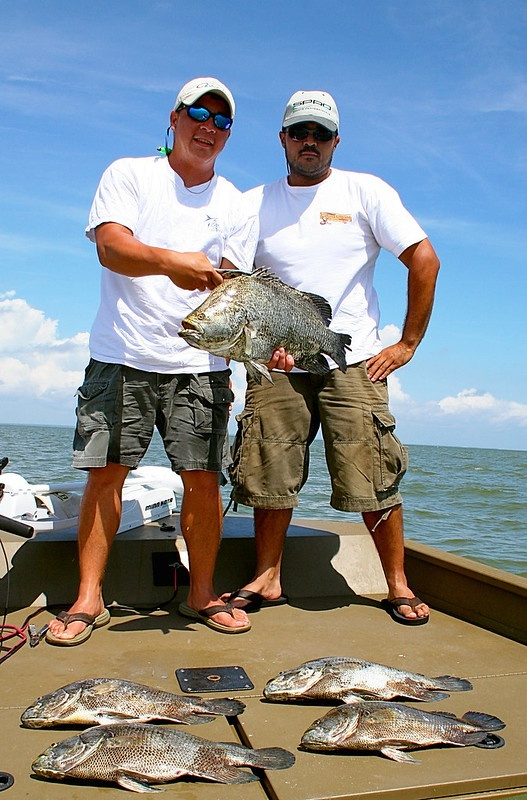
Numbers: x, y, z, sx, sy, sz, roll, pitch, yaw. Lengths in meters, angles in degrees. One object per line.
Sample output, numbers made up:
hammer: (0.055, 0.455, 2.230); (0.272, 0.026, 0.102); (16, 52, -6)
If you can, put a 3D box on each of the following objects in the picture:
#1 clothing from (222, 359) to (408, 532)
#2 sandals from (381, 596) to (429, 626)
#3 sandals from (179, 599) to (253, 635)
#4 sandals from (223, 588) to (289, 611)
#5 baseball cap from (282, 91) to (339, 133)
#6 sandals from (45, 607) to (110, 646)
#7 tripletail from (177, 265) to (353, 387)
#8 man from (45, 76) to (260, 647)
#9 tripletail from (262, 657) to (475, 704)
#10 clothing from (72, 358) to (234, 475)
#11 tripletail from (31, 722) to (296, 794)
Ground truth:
clothing: (0.241, 0.220, 3.521); (1.043, 0.922, 0.381); (0, -19, 4)
sandals: (0.687, 1.013, 3.466); (0.167, 0.128, 0.267); (3, 0, -8)
sandals: (-0.221, 0.983, 3.253); (0.263, 0.071, 0.122); (-1, -5, 40)
sandals: (-0.031, 0.985, 3.538); (0.308, 0.072, 0.110); (7, -11, -31)
baseball cap: (0.220, -1.442, 3.579); (0.283, 0.211, 0.166); (3, 0, 11)
sandals: (-0.789, 0.943, 3.021); (0.171, 0.137, 0.346); (3, 0, 9)
tripletail: (0.035, -0.273, 2.874); (0.873, 0.398, 0.190); (6, -1, -36)
man: (-0.411, -0.202, 3.144); (0.844, 2.513, 0.687); (3, 0, -5)
tripletail: (0.377, 0.982, 2.467); (0.755, 0.147, 0.188); (3, 0, -14)
clothing: (-0.498, 0.065, 3.197); (0.550, 0.458, 0.182); (5, -14, -13)
tripletail: (-0.259, 0.965, 1.930); (0.694, 0.165, 0.183); (3, 0, -14)
